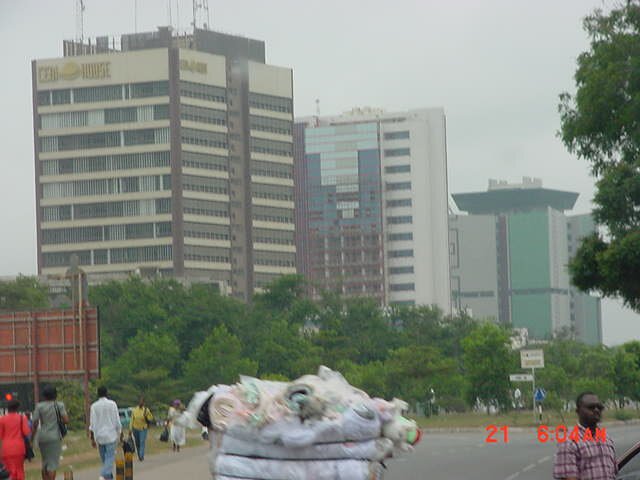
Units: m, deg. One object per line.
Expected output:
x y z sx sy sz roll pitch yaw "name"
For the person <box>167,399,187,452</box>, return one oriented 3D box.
-7.808 10.145 105.206 1.077 3.156 0.945 7 20 10 "person"
